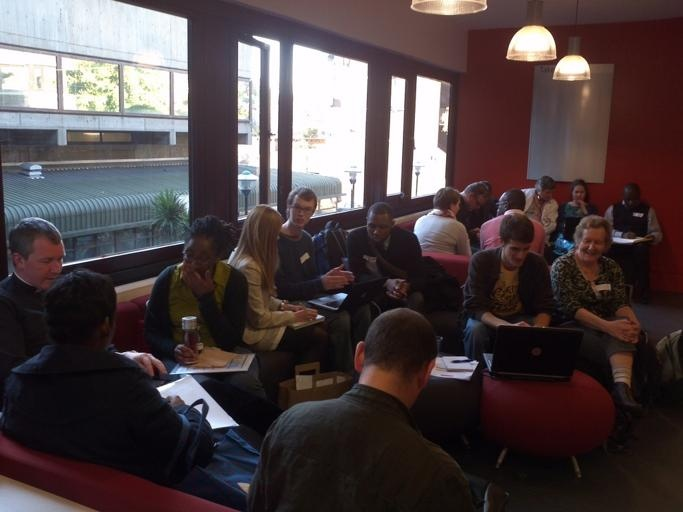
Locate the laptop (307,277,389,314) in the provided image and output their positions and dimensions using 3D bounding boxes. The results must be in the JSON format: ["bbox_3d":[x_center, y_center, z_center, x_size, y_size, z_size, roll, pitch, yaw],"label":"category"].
[{"bbox_3d":[0.028,0.287,3.821,0.310,0.230,0.357,15,20,38],"label":"laptop"}]

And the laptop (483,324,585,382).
[{"bbox_3d":[1.162,0.580,3.049,0.412,0.339,0.372,1,7,3],"label":"laptop"}]

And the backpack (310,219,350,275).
[{"bbox_3d":[-0.113,-0.068,4.535,0.303,0.478,0.237,-34,-29,31],"label":"backpack"}]

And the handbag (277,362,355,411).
[{"bbox_3d":[-0.170,0.721,2.824,0.473,0.317,0.178,-4,22,-20],"label":"handbag"}]

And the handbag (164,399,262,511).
[{"bbox_3d":[-0.486,0.769,1.951,0.343,0.121,0.266,24,22,10],"label":"handbag"}]
